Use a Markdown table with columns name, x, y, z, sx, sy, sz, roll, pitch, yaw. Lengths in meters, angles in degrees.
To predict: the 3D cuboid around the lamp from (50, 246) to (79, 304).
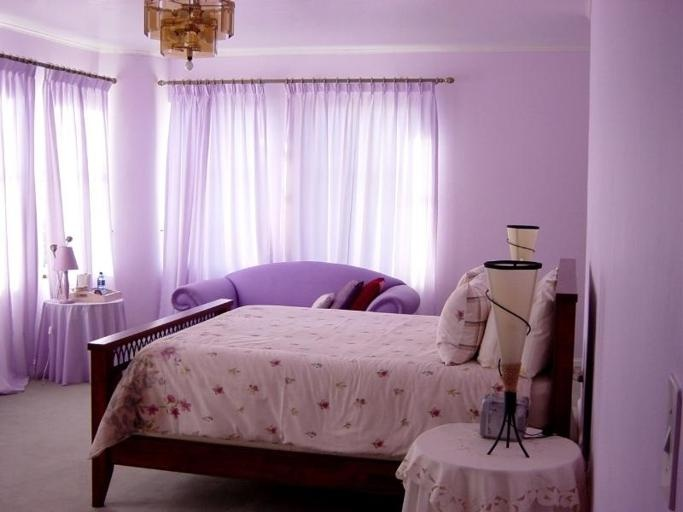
| name | x | y | z | sx | sy | sz | roll | pitch | yaw |
| --- | --- | --- | --- | --- | --- | --- | --- | --- | --- |
| lamp | -2.216 | 0.112 | 4.925 | 0.171 | 0.420 | 0.464 | -4 | 9 | -26 |

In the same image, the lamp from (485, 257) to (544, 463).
| name | x | y | z | sx | sy | sz | roll | pitch | yaw |
| --- | --- | --- | --- | --- | --- | --- | --- | --- | --- |
| lamp | 0.545 | 0.323 | 2.010 | 0.161 | 0.643 | 0.262 | 2 | 9 | 15 |

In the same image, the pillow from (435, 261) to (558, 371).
| name | x | y | z | sx | sy | sz | roll | pitch | yaw |
| --- | --- | --- | --- | --- | --- | --- | --- | --- | --- |
| pillow | 0.678 | 0.313 | 2.819 | 0.138 | 0.494 | 0.448 | 23 | -12 | -34 |
